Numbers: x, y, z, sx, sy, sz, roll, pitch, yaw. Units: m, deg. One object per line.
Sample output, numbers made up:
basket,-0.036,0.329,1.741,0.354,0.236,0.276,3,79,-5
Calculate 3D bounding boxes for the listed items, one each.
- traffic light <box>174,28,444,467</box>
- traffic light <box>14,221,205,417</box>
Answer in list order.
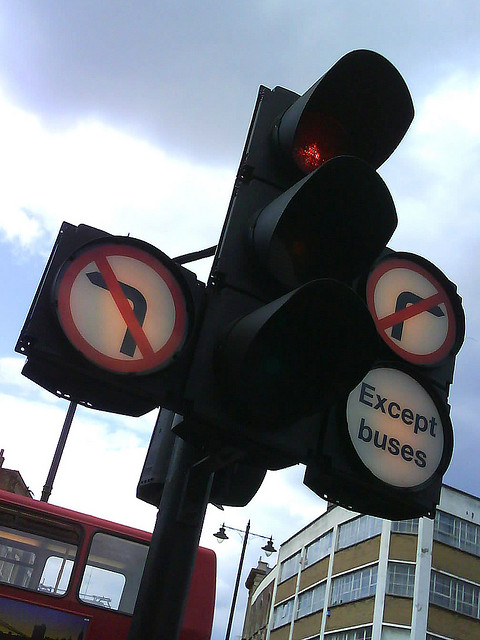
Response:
traffic light,0.405,-0.450,2.591,0.936,2.079,0.883,27,-29,-31
traffic light,-0.493,0.014,2.251,0.475,0.553,0.290,27,-24,-19
